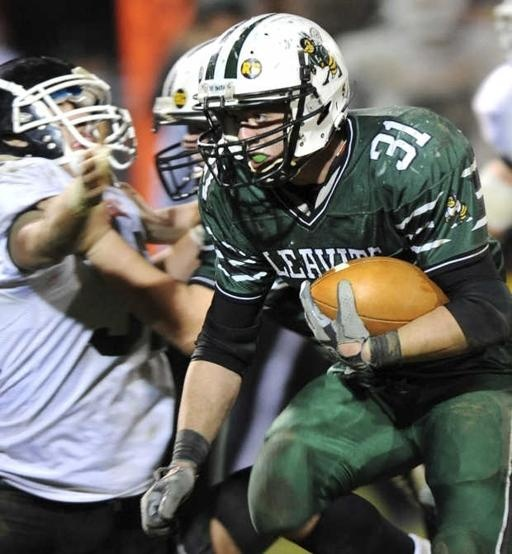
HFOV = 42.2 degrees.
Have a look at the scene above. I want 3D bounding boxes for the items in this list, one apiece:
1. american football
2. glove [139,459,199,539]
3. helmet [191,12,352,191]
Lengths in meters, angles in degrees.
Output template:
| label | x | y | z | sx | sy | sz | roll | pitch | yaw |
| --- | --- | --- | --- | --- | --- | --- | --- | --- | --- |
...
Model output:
| label | x | y | z | sx | sy | sz | roll | pitch | yaw |
| --- | --- | --- | --- | --- | --- | --- | --- | --- | --- |
| american football | 0.325 | 0.002 | 1.583 | 0.441 | 0.153 | 0.361 | 1 | 17 | 16 |
| glove | -0.201 | 0.500 | 1.512 | 0.111 | 0.114 | 0.162 | 6 | 44 | 2 |
| helmet | 0.026 | -0.395 | 1.588 | 0.351 | 0.383 | 0.384 | 14 | 47 | 9 |
